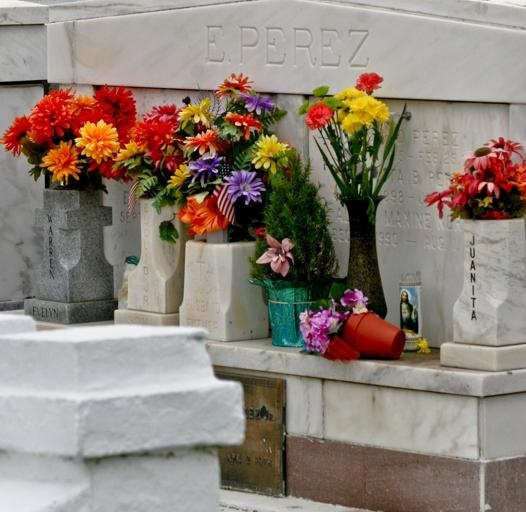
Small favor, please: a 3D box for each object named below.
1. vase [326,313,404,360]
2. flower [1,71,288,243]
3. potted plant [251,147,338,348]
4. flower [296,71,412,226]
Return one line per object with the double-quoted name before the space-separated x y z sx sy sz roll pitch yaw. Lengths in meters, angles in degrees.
"vase" 0.505 0.418 8.015 0.311 0.298 0.255 1 -9 35
"flower" -0.541 -0.547 9.269 1.727 0.929 0.575 -1 0 36
"potted plant" 0.100 0.038 8.598 0.393 0.944 0.464 -16 -19 39
"flower" 0.503 -0.503 8.526 0.404 0.774 0.539 -6 6 22
